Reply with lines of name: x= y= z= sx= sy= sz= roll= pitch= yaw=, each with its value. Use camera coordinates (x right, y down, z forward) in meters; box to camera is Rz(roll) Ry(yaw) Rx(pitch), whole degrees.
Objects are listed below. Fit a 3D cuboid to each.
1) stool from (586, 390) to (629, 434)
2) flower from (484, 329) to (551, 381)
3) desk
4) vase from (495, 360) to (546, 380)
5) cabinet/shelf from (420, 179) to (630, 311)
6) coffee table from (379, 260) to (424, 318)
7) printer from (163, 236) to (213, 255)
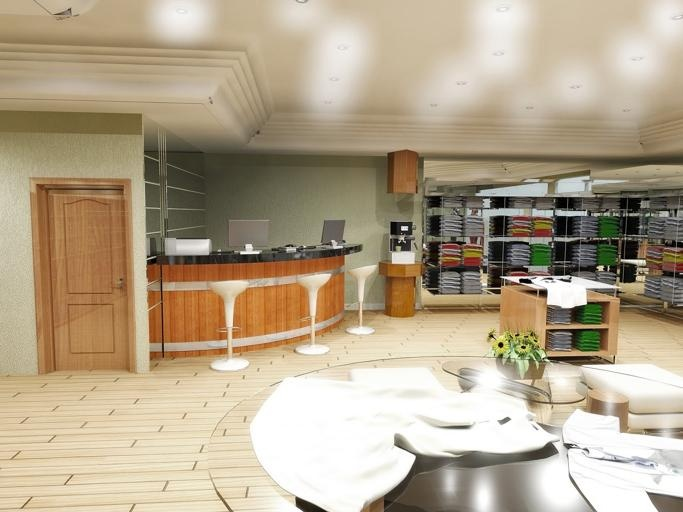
stool: x=1.657 y=0.978 z=3.204 sx=0.232 sy=0.190 sz=0.203 roll=2 pitch=6 yaw=16
flower: x=1.248 y=0.702 z=3.636 sx=0.393 sy=0.194 sz=0.337 roll=0 pitch=7 yaw=8
desk: x=-0.879 y=0.662 z=7.467 sx=1.628 sy=1.119 sz=3.551 roll=-5 pitch=-3 yaw=30
vase: x=1.250 y=0.786 z=3.509 sx=0.255 sy=0.065 sz=0.154 roll=0 pitch=1 yaw=-3
cabinet/shelf: x=4.069 y=-0.033 z=10.710 sx=1.127 sy=1.800 sz=3.600 roll=14 pitch=-9 yaw=10
coffee table: x=1.080 y=0.538 z=8.802 sx=0.668 sy=0.567 sz=0.618 roll=-6 pitch=-13 yaw=11
printer: x=-1.894 y=-0.105 z=6.318 sx=0.563 sy=0.184 sz=0.449 roll=-2 pitch=11 yaw=-15
